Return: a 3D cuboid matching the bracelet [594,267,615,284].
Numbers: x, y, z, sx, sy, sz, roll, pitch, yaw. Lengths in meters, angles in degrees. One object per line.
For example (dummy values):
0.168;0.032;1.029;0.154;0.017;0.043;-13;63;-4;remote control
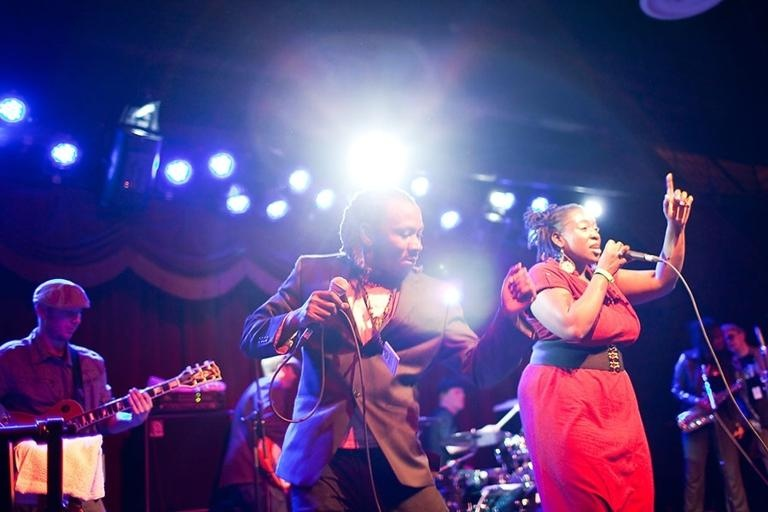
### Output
1.597;0.147;4.734;0.121;0.048;0.108;40;7;8;bracelet
